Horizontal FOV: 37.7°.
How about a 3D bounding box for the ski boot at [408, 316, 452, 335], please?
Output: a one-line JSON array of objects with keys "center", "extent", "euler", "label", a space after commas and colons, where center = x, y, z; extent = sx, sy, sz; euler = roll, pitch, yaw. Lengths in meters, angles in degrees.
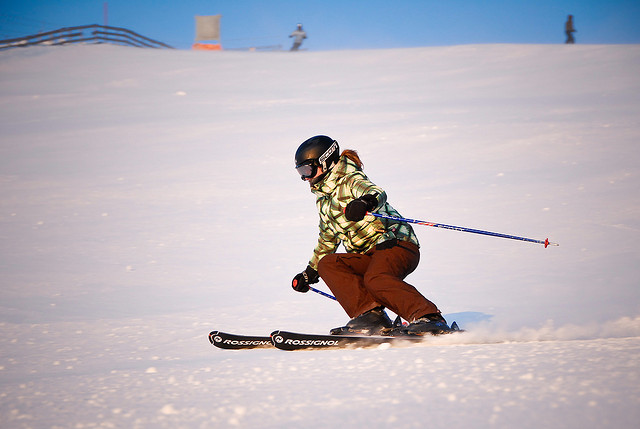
[{"center": [1.451, 1.478, 12.471], "extent": [0.565, 0.179, 0.088], "euler": [-4, -3, 3], "label": "ski boot"}]
